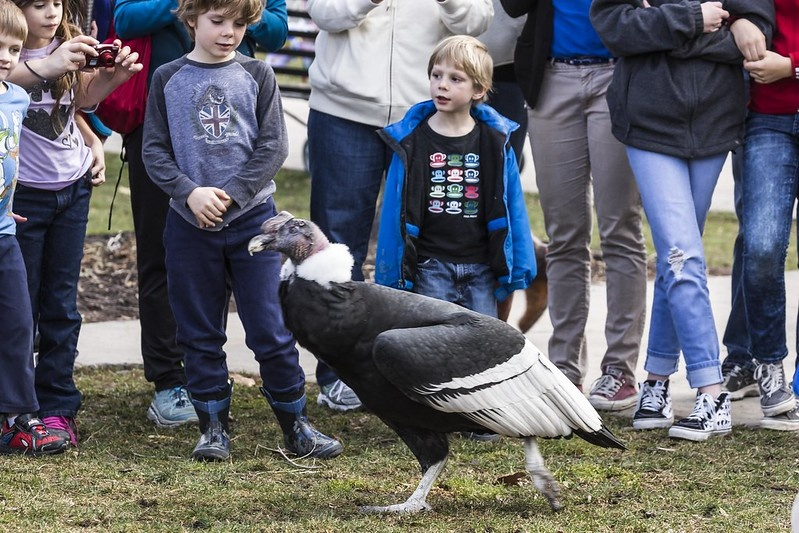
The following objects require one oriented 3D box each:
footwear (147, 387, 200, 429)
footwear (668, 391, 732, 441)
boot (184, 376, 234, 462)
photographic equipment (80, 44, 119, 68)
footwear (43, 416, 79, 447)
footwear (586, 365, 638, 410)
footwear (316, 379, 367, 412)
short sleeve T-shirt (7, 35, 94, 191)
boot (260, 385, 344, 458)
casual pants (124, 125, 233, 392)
[{"bbox_3d":[-1.423,0.867,9.722,0.235,0.237,0.538,1,7,-34],"label":"footwear"},{"bbox_3d":[1.793,0.901,9.342,0.395,0.272,0.185,-8,17,-30],"label":"footwear"},{"bbox_3d":[-1.100,0.930,9.111,0.236,0.436,0.460,-2,4,-2],"label":"boot"},{"bbox_3d":[-1.731,-1.227,9.012,0.243,0.155,0.131,-10,32,-44],"label":"photographic equipment"},{"bbox_3d":[-1.982,0.955,9.155,0.103,0.205,0.291,18,-37,1],"label":"footwear"},{"bbox_3d":[1.324,0.807,9.900,0.167,0.166,0.416,-4,-5,28],"label":"footwear"},{"bbox_3d":[-0.401,0.838,9.970,0.344,0.161,0.162,1,-1,36],"label":"footwear"},{"bbox_3d":[-2.034,-0.870,9.309,0.566,0.785,0.444,-7,2,22],"label":"short sleeve T-shirt"},{"bbox_3d":[-0.572,0.940,9.184,0.204,0.404,0.557,-25,22,-39],"label":"boot"},{"bbox_3d":[-1.366,0.100,10.073,0.600,0.496,2.306,11,34,-16],"label":"casual pants"}]
